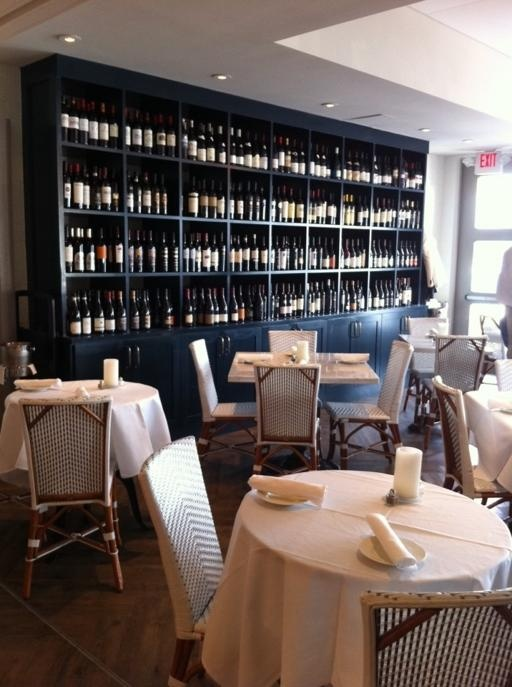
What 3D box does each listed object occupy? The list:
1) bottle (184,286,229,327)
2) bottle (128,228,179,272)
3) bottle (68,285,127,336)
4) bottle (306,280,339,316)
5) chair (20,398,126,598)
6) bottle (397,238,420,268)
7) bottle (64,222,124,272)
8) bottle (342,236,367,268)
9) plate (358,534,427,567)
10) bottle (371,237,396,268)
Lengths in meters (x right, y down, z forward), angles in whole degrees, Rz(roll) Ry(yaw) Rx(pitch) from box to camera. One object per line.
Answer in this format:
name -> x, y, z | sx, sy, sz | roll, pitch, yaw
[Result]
bottle -> -0.476, -0.302, 4.653 | 0.355, 0.350, 0.350 | 0, 2, -34
bottle -> -0.805, -0.730, 4.196 | 0.352, 0.334, 0.208 | -3, 11, -27
bottle -> -1.179, -0.231, 3.911 | 0.315, 0.325, 0.453 | 3, 6, 23
bottle -> 0.703, -0.484, 5.660 | 0.367, 0.524, 0.150 | -2, 7, -29
chair -> -0.841, 0.629, 2.432 | 0.416, 0.891, 0.674 | -1, 6, -19
bottle -> 1.967, -1.157, 6.849 | 0.400, 0.388, 0.101 | 2, -2, -36
bottle -> -1.254, -0.697, 3.885 | 0.444, 0.366, 0.368 | -5, 7, -44
bottle -> 1.114, -1.036, 6.031 | 0.144, 0.396, 0.394 | 4, 7, 43
plate -> 0.302, 0.464, 1.177 | 0.146, 0.019, 0.124 | 1, 5, 7
bottle -> 1.546, -1.101, 6.446 | 0.409, 0.406, 0.100 | -3, -2, -30
